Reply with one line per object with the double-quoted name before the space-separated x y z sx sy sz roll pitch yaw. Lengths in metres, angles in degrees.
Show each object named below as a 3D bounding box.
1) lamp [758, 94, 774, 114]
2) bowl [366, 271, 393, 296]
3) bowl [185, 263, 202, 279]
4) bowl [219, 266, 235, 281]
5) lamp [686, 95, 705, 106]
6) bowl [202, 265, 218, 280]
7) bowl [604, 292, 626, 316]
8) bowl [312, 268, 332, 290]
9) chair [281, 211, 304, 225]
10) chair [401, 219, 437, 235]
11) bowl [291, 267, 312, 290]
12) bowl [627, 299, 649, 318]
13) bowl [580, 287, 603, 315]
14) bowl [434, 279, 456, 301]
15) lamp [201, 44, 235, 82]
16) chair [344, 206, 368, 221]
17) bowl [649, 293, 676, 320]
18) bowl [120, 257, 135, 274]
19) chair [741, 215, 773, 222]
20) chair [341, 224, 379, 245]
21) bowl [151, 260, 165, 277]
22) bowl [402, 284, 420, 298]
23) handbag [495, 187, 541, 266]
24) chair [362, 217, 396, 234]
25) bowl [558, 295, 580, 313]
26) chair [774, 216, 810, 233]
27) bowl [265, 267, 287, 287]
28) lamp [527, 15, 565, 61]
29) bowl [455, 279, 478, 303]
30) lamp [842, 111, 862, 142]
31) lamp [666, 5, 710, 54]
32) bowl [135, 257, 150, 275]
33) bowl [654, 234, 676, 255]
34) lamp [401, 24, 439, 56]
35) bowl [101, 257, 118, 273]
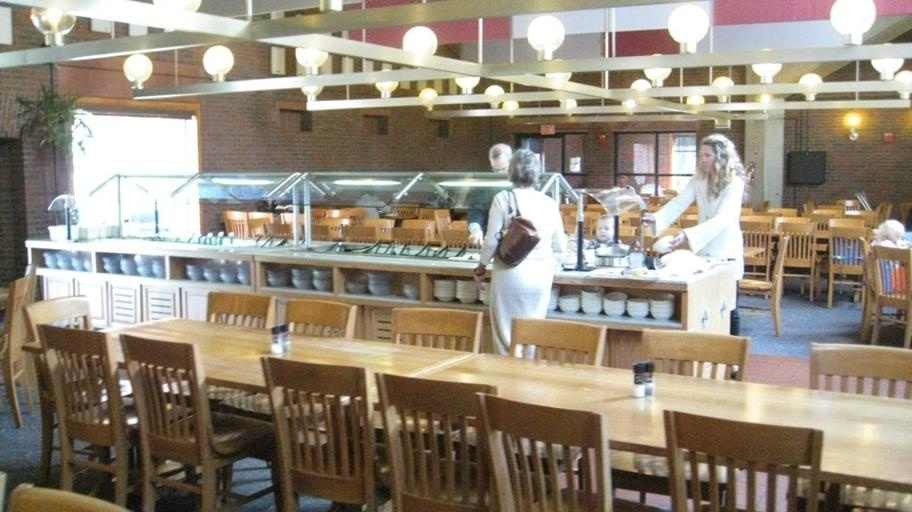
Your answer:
"lamp" 5.074 -2.530 11.317 0.152 0.262 2.703 8 13 22
"bowl" -0.755 0.262 6.871 0.271 0.173 0.234 0 -3 -6
"bowl" -2.924 0.173 7.722 0.196 0.176 0.177 -2 -4 6
"bowl" -2.488 0.193 7.540 0.194 0.126 0.186 1 -4 0
"lamp" 4.131 -2.677 11.893 0.219 0.226 2.466 6 12 16
"bowl" -2.696 0.182 7.606 0.179 0.125 0.189 0 -1 0
"bowl" 1.423 0.427 6.209 0.196 0.185 0.211 2 13 0
"bowl" -1.369 0.252 7.198 0.255 0.173 0.218 0 -4 6
"chair" -1.785 -0.419 7.600 0.169 0.139 0.160 0 0 -35
"chair" -0.586 -0.446 10.996 0.395 0.353 0.458 0 -6 13
"bowl" -1.616 0.232 7.227 0.226 0.215 0.107 7 15 21
"bowl" 1.594 0.457 6.045 0.200 0.113 0.179 0 -2 -11
"bowl" 1.235 0.403 6.273 0.207 0.217 0.273 5 13 11
"bowl" -0.101 0.329 6.638 0.248 0.150 0.212 1 -3 -3
"lamp" -2.435 -1.976 7.072 0.255 0.374 0.512 -3 14 -20
"chair" -1.109 -0.475 7.726 0.201 0.211 0.206 0 -2 18
"bowl" 1.792 0.439 6.010 0.270 0.181 0.223 0 -4 4
"bowl" -3.823 0.110 8.095 0.205 0.182 0.203 -2 -4 0
"chair" 4.987 -0.620 11.456 0.268 0.169 0.270 4 6 41
"chair" -1.126 -0.256 8.116 0.468 0.252 0.257 2 27 0
"bowl" -3.406 0.139 7.941 0.209 0.192 0.192 1 4 0
"bowl" -0.430 0.346 6.861 0.162 0.096 0.154 0 -3 0
"handbag" 0.478 -0.250 5.838 0.319 0.601 0.532 10 10 -1
"chair" -1.057 -0.432 9.787 0.263 0.280 0.325 -1 2 -43
"bowl" 1.024 0.432 6.282 0.188 0.101 0.181 0 -2 0
"chair" 4.963 -0.492 10.285 0.580 0.206 0.646 0 2 4
"bowl" -1.907 0.234 7.336 0.227 0.135 0.204 -1 -2 -6
"lamp" 0.783 -1.927 6.087 0.281 0.413 0.477 3 13 5
"bowl" 0.097 0.335 6.564 0.241 0.161 0.215 0 0 -2
"lamp" 10.131 -3.314 17.699 0.422 0.717 0.167 5 15 10
"lamp" 2.008 -1.983 6.001 0.295 0.458 0.531 6 14 15
"bowl" -3.592 0.110 8.080 0.227 0.209 0.214 1 8 0
"bowl" 1.930 -0.116 6.299 0.168 0.149 0.300 10 15 32
"lamp" -0.380 -2.195 6.978 0.296 0.262 0.308 5 13 14
"bowl" -4.061 0.098 8.141 0.221 0.197 0.204 0 2 0
